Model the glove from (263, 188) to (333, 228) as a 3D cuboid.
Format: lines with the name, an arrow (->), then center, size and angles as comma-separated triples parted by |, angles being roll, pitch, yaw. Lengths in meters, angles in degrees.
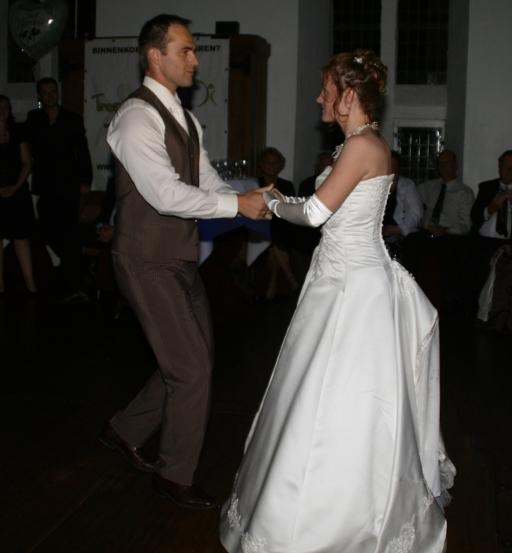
glove -> 0.128, -0.206, 1.558 | 0.163, 0.079, 0.141 | 22, 7, 15

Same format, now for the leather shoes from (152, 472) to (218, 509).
leather shoes -> -0.252, 0.786, 1.883 | 0.231, 0.116, 0.092 | 15, 2, 3

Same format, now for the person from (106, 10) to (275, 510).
person -> -0.293, -0.054, 1.919 | 0.522, 1.778, 0.510 | -5, 9, -35
